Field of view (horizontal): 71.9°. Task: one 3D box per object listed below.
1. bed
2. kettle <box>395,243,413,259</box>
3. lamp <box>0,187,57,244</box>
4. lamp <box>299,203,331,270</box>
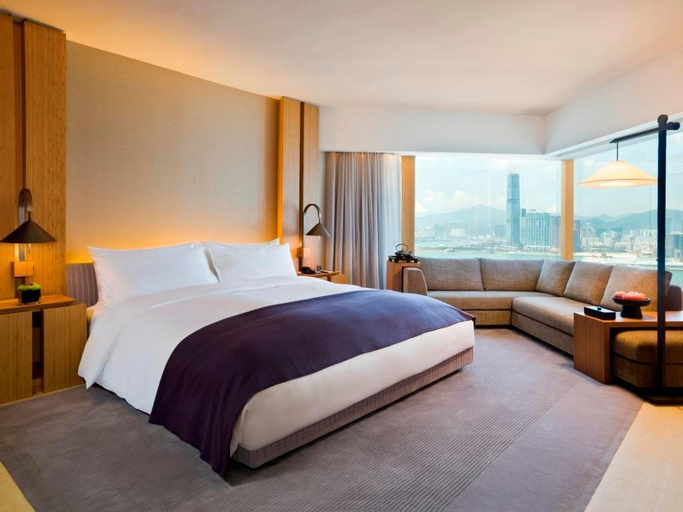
[{"bbox_3d":[-0.945,0.695,3.686,1.933,0.957,2.180,0,1,40],"label":"bed"},{"bbox_3d":[0.860,-0.056,6.516,0.273,0.284,0.232,1,-4,-10],"label":"kettle"},{"bbox_3d":[-2.635,-0.326,4.112,0.437,0.487,0.462,3,3,35],"label":"lamp"},{"bbox_3d":[-0.381,-0.239,6.122,0.513,0.939,0.347,5,3,35],"label":"lamp"}]
